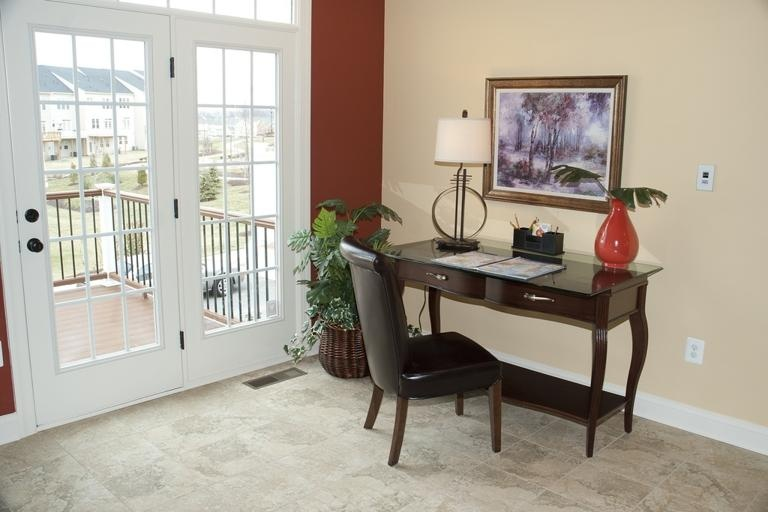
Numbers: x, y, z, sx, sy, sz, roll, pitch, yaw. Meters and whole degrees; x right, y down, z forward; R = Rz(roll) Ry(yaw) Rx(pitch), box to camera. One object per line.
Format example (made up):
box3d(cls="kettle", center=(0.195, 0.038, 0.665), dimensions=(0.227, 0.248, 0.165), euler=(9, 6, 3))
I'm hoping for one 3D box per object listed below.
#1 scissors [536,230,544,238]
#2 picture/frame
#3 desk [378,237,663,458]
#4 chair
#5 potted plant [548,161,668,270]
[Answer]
box3d(cls="scissors", center=(1.104, -0.154, 3.888), dimensions=(0.050, 0.049, 0.012), euler=(-6, -6, 41))
box3d(cls="picture/frame", center=(1.270, -0.823, 3.939), dimensions=(1.094, 0.930, 0.084), euler=(7, 12, 29))
box3d(cls="desk", center=(0.885, 0.566, 4.013), dimensions=(0.875, 1.032, 1.744), euler=(-9, 13, -43))
box3d(cls="chair", center=(0.235, 0.573, 3.526), dimensions=(0.956, 1.279, 0.763), euler=(-1, 8, -11))
box3d(cls="potted plant", center=(1.530, -0.199, 3.495), dimensions=(0.689, 0.573, 0.677), euler=(-7, 14, 0))
